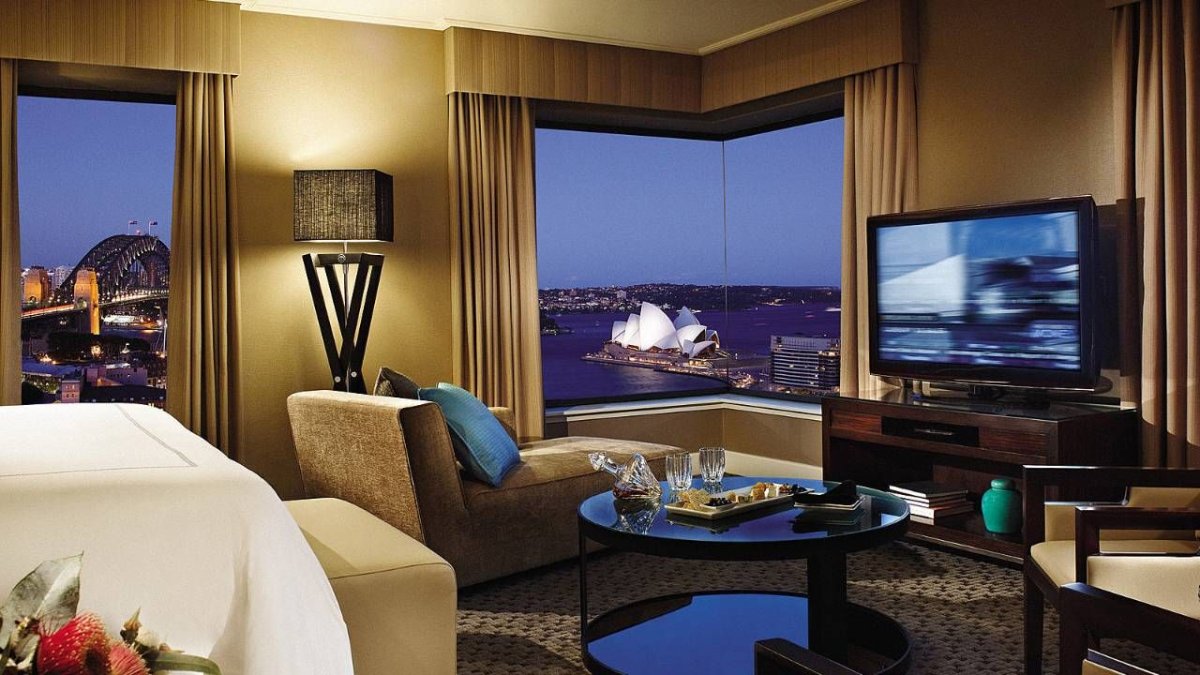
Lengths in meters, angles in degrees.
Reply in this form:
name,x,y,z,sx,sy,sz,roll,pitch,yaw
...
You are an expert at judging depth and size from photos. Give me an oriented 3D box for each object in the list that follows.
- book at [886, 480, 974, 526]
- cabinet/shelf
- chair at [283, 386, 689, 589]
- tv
name,x,y,z,sx,sy,sz,roll,pitch,yaw
book,2.086,1.013,5.196,0.415,0.136,0.398,-2,4,-32
cabinet/shelf,2.399,0.870,5.498,0.873,0.772,1.670,5,-2,-35
chair,-0.664,0.719,4.971,1.569,0.622,1.152,1,1,-45
tv,2.413,-0.273,5.377,0.216,1.156,1.590,-6,5,-32
